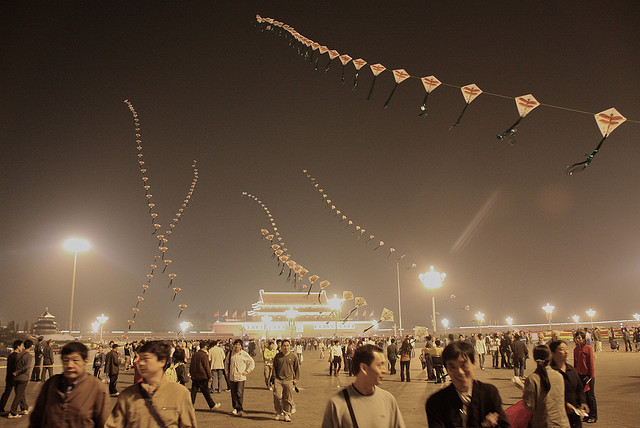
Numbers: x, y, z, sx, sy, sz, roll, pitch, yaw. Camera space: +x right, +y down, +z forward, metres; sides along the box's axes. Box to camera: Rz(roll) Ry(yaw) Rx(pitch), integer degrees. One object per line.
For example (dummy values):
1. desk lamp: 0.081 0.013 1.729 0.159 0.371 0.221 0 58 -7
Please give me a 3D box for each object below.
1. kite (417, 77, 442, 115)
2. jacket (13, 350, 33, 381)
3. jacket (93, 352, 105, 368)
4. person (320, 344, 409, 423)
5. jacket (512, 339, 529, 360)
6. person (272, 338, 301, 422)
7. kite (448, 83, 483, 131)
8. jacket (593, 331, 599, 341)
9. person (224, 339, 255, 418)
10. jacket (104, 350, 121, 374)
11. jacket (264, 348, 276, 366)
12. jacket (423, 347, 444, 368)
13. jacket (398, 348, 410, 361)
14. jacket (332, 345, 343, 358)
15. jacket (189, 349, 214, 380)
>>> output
1. kite: 3.524 -4.097 14.318 0.472 0.884 0.721 -11 -21 24
2. jacket: -9.136 4.638 13.762 0.427 0.869 0.439 13 -24 -38
3. jacket: -9.205 6.053 18.657 0.373 0.632 0.891 7 -22 -25
4. person: 0.548 2.218 5.854 0.998 0.977 0.353 -2 -19 -2
5. jacket: 9.173 6.184 20.581 0.572 0.787 0.661 -10 -20 20
6. person: -0.976 4.675 12.793 0.746 2.246 1.198 -1 -19 -5
7. kite: 4.777 -3.450 14.586 0.629 0.198 2.034 5 -32 4
8. jacket: 21.976 9.653 35.682 0.267 0.754 0.861 -13 -22 29
9. person: -2.431 4.928 13.594 0.686 2.229 1.016 1 -19 -10
10. jacket: -8.115 5.745 17.488 0.479 0.874 0.784 7 -21 -26
11. jacket: -1.887 5.289 16.751 0.406 0.541 0.672 0 -20 -8
12. jacket: 5.168 6.368 20.032 0.632 0.935 1.388 -3 -19 2
13. jacket: 3.902 6.545 20.705 0.380 0.513 0.299 -8 -36 17
14. jacket: 0.892 7.442 24.350 0.438 0.639 0.422 2 -19 -13
15. jacket: -3.858 4.811 14.410 0.976 0.936 0.518 -8 0 32
